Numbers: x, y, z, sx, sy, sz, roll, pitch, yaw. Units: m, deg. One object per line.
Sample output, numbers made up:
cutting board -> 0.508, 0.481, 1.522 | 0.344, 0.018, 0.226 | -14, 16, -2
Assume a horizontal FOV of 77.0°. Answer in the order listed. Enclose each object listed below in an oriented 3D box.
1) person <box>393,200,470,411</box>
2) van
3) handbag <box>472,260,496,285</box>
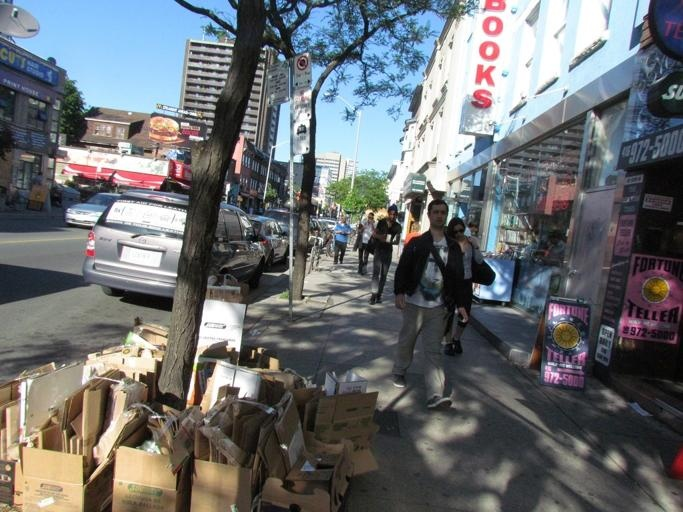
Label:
person -> 1.006, 0.478, 4.891 | 0.838, 2.001, 0.797 | 6, 3, 12
van -> -2.884, -0.245, 8.050 | 1.617, 1.762, 2.840 | 8, 4, 33
handbag -> 2.161, 0.253, 6.569 | 0.350, 0.354, 0.202 | 6, 3, 8
